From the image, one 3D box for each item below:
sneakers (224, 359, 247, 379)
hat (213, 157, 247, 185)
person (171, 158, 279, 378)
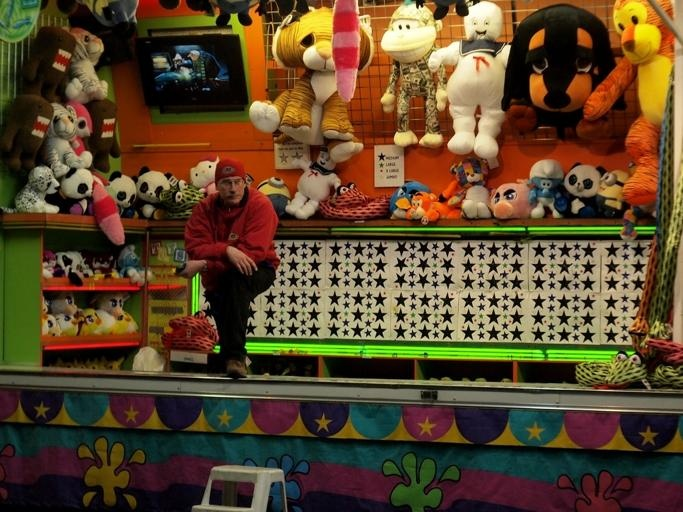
[{"bbox_3d":[-0.685,0.726,4.934,0.139,0.124,0.138,-4,12,-21],"label":"sneakers"},{"bbox_3d":[-0.779,-0.593,5.229,0.160,0.111,0.166,0,-5,-15],"label":"hat"},{"bbox_3d":[-0.812,0.045,5.124,0.657,1.363,0.706,2,11,11],"label":"person"}]
